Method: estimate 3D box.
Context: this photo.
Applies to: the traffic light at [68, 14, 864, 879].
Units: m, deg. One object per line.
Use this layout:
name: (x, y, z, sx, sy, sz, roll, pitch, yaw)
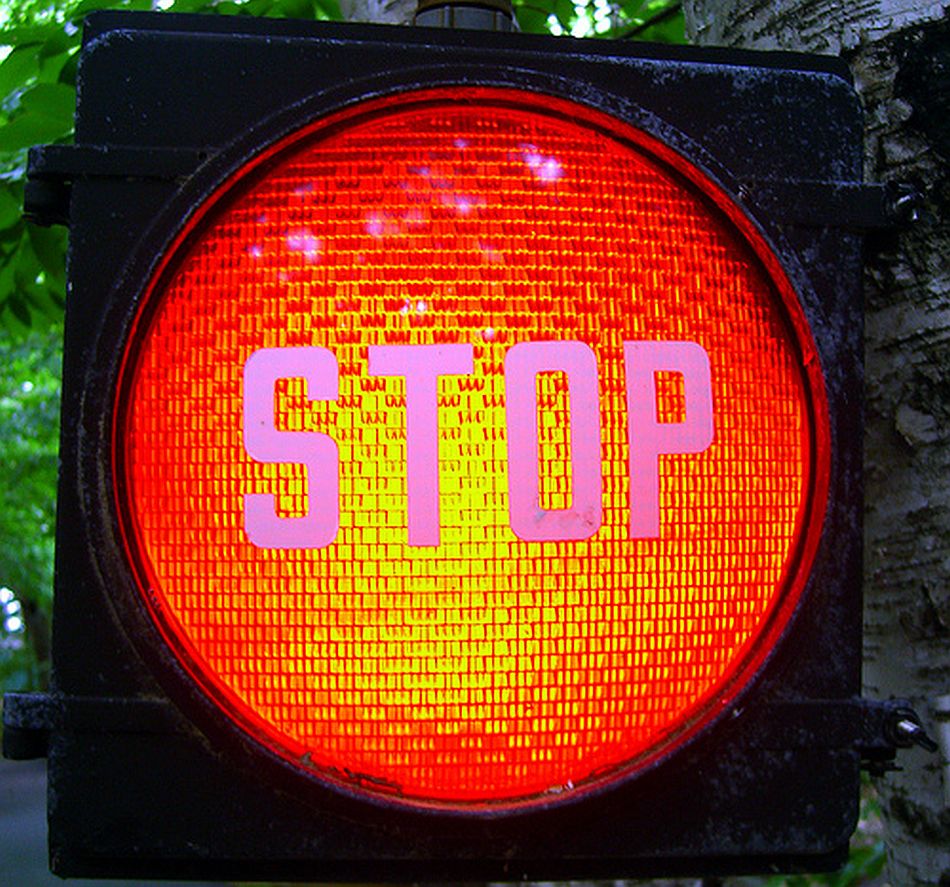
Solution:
traffic light: (-0.037, 0.038, 1.885, 0.900, 0.183, 0.948, 1, 85, -5)
